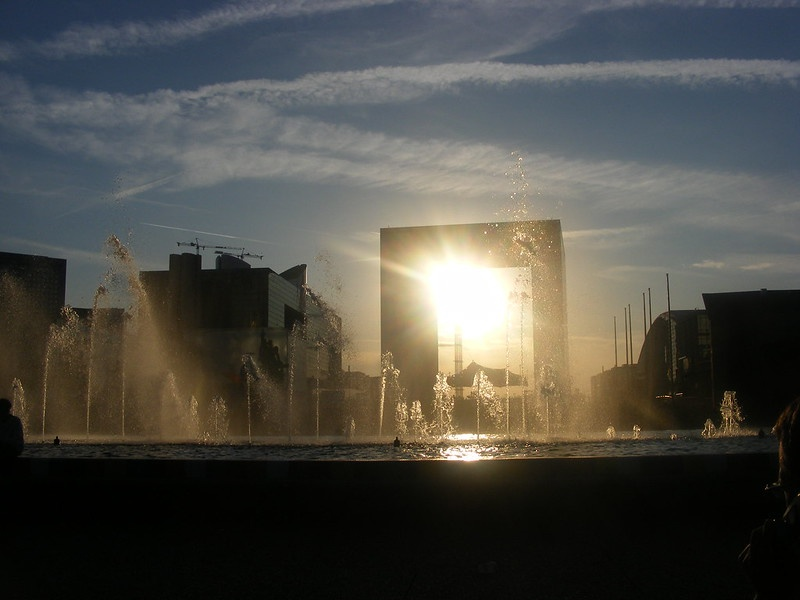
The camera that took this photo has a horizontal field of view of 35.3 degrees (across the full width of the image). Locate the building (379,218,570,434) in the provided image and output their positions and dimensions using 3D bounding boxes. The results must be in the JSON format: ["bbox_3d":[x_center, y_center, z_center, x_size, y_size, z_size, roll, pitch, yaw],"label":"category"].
[{"bbox_3d":[3.432,0.348,53.530,8.850,9.562,3.357,0,24,3],"label":"building"}]

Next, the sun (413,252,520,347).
[{"bbox_3d":[1.824,-0.459,47.784,4.386,3.848,1.035,1,-1,1],"label":"sun"}]
